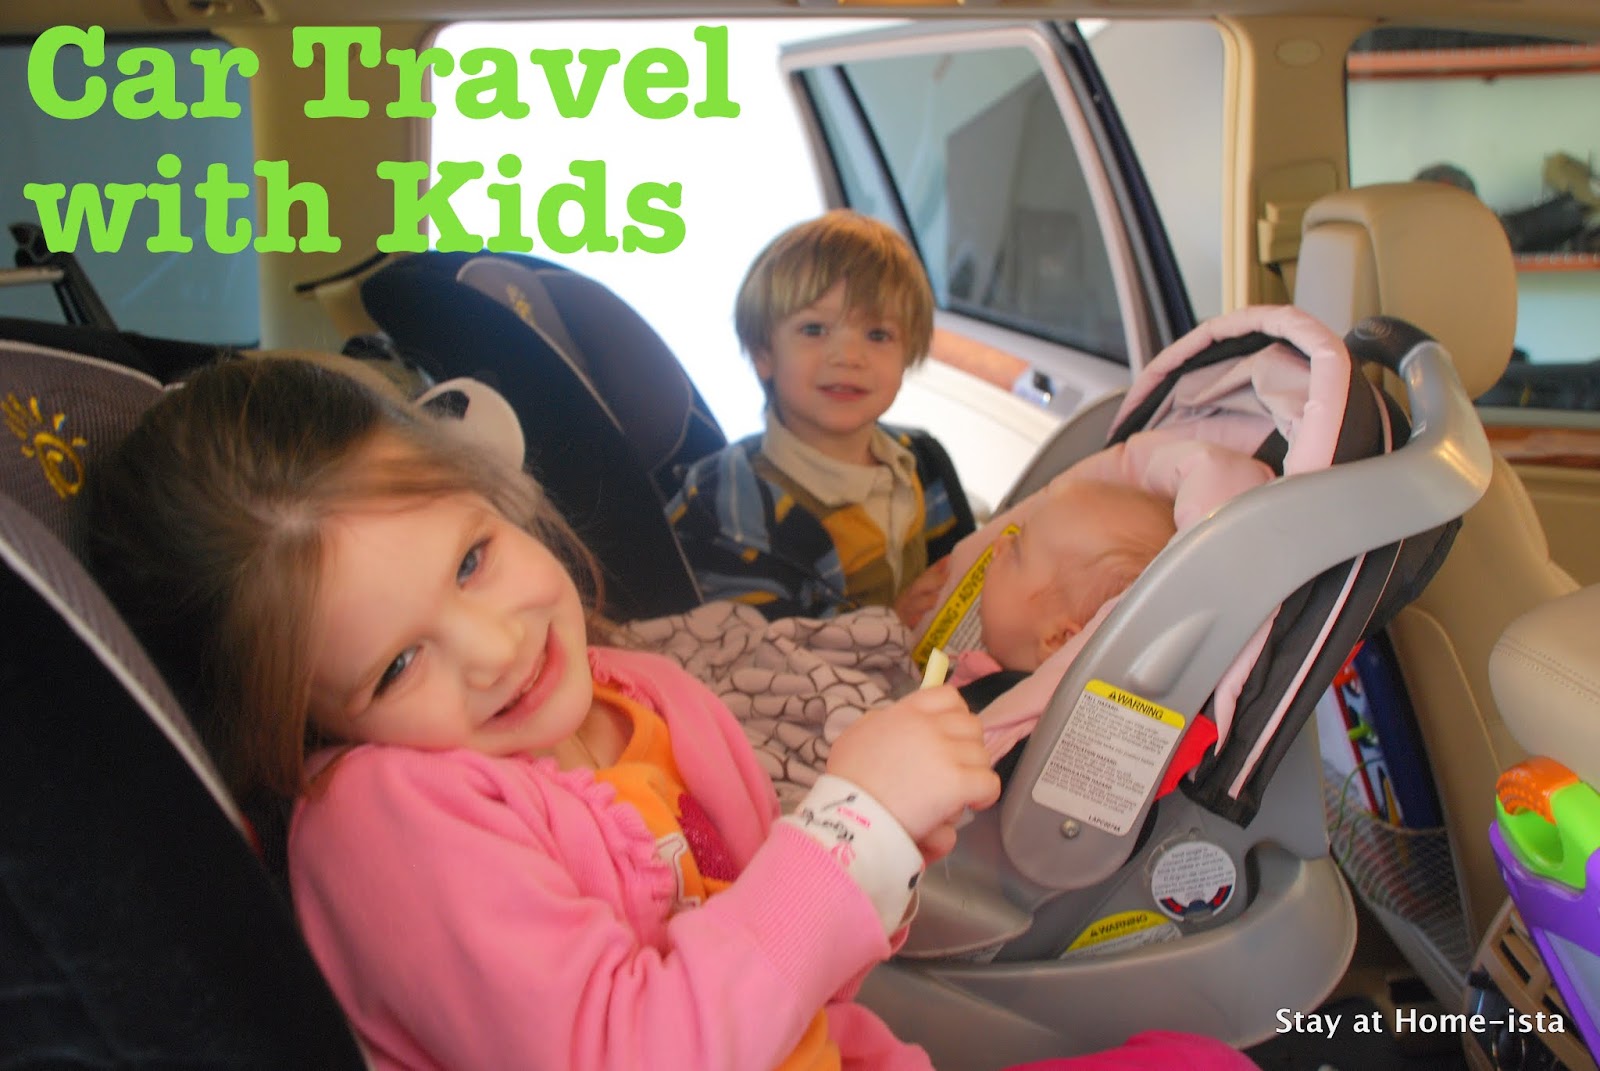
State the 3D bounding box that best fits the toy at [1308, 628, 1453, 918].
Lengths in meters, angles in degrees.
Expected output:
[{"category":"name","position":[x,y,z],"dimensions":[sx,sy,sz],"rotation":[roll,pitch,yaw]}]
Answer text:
[{"category":"toy","position":[0.964,0.374,2.019],"dimensions":[0.137,0.434,0.316],"rotation":[-8,2,-4]}]
